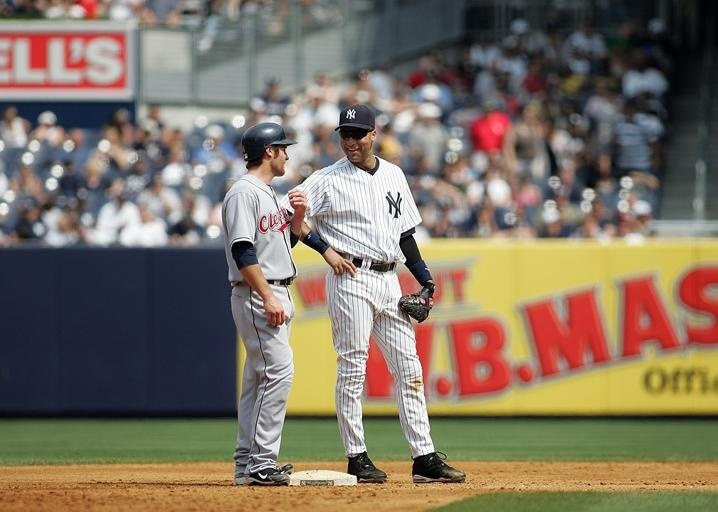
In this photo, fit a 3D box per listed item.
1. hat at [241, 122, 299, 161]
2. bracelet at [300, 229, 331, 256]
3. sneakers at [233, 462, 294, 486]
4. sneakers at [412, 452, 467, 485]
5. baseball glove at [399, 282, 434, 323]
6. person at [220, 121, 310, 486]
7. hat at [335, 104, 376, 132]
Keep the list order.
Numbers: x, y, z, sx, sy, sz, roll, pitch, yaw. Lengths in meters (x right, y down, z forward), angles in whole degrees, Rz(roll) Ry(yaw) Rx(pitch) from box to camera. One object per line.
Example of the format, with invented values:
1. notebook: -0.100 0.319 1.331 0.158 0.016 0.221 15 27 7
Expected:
1. hat: -0.828 -1.044 13.468 0.425 0.265 0.312 -6 10 -11
2. bracelet: -0.391 -0.121 13.491 0.179 0.243 0.103 -43 -5 -14
3. sneakers: -0.847 1.947 13.374 0.527 0.222 0.194 -3 -3 6
4. sneakers: 0.731 1.936 13.558 0.475 0.256 0.235 -1 -3 3
5. baseball glove: 0.546 0.394 13.530 0.272 0.365 0.195 35 -15 -20
6. person: -0.860 0.449 13.317 0.707 3.223 0.502 0 6 -4
7. hat: -0.035 -1.254 13.505 0.344 0.225 0.208 0 6 -2
